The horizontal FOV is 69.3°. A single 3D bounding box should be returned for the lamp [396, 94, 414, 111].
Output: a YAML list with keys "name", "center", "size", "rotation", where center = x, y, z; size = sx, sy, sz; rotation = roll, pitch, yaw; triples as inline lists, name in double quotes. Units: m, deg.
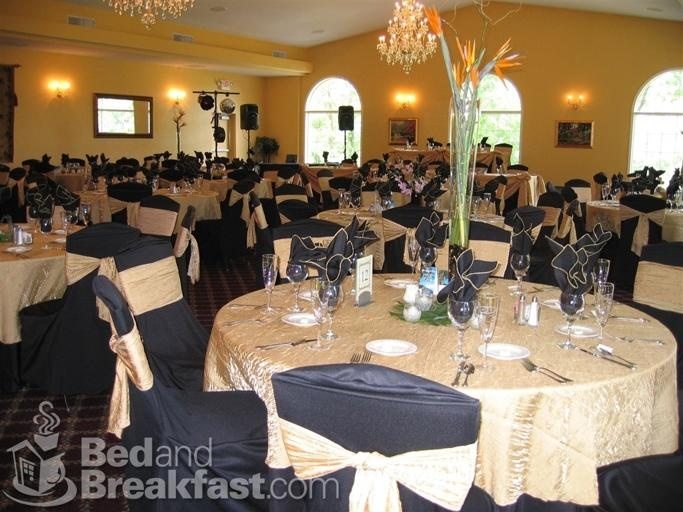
- name: "lamp"
  center: [1.948, -4.682, 15.011]
  size: [0.472, 0.525, 0.153]
  rotation: [3, 4, 24]

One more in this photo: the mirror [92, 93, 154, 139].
- name: "mirror"
  center: [-6.268, -3.997, 13.983]
  size: [0.047, 1.057, 1.338]
  rotation: [8, 14, 37]

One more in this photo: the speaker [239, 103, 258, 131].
- name: "speaker"
  center: [-2.864, -4.354, 15.417]
  size: [0.531, 0.758, 0.890]
  rotation: [-3, 14, -12]

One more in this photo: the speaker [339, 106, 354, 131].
- name: "speaker"
  center: [0.133, -4.057, 14.492]
  size: [0.519, 0.886, 0.446]
  rotation: [11, 24, 24]

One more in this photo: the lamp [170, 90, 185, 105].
- name: "lamp"
  center: [-5.041, -4.907, 15.129]
  size: [0.376, 0.385, 0.165]
  rotation: [19, 16, -33]

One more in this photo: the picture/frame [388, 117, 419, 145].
- name: "picture/frame"
  center: [1.923, -3.849, 15.109]
  size: [0.968, 0.988, 0.070]
  rotation: [7, 10, 31]

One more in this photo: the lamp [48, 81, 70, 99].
- name: "lamp"
  center: [-7.257, -4.330, 12.741]
  size: [0.098, 0.443, 0.558]
  rotation: [8, 16, 34]
